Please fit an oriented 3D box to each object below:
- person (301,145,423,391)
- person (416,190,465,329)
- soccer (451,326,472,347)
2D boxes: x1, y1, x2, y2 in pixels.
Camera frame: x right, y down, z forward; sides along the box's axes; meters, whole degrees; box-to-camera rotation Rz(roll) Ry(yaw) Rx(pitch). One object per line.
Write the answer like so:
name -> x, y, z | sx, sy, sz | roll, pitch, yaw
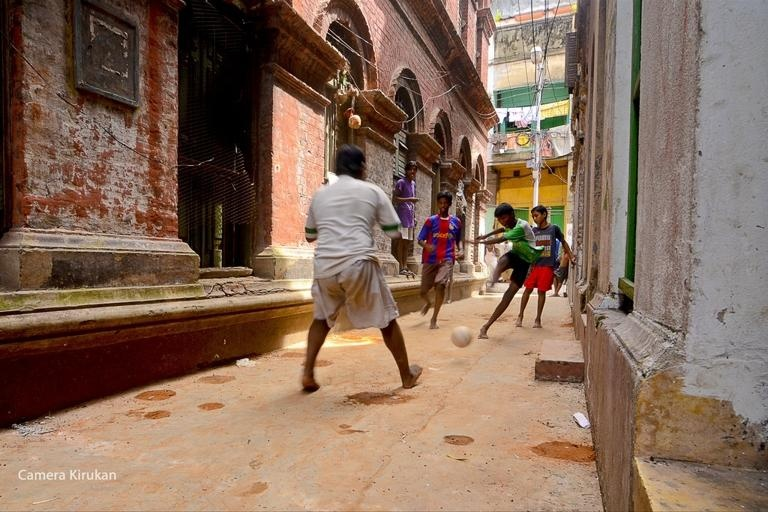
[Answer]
person -> -0.239, 0.266, 4.200 | 0.960, 1.837, 0.496 | -1, 4, -7
person -> 0.884, 0.090, 7.617 | 0.620, 2.113, 0.609 | 0, 4, 5
soccer -> 0.838, 0.847, 5.278 | 0.203, 0.257, 0.203 | 3, 14, 34
